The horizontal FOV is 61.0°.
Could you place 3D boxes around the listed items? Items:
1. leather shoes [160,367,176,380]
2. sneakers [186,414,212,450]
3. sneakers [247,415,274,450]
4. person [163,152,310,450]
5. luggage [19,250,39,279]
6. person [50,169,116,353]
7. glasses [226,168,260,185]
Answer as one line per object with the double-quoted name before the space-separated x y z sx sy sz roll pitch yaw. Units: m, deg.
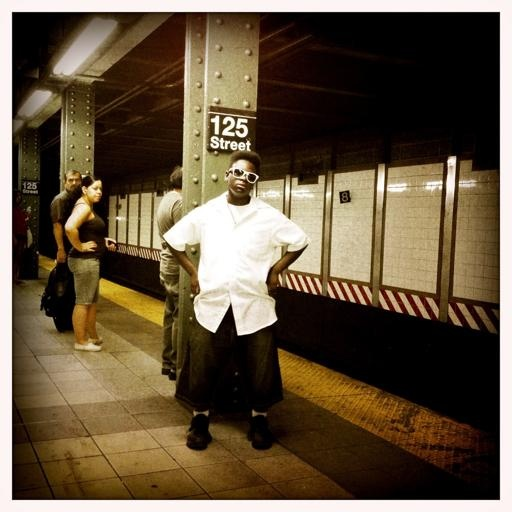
"leather shoes" -0.852 1.141 4.212 0.068 0.155 0.202 4 -4 -28
"sneakers" -0.369 1.154 2.821 0.101 0.165 0.231 10 -22 -1
"sneakers" 0.012 1.174 2.920 0.103 0.217 0.295 9 -1 -15
"person" -0.124 0.305 2.927 0.926 2.001 0.504 1 6 -8
"luggage" -5.943 0.198 11.301 0.424 0.854 0.256 5 0 -34
"person" -1.957 0.089 5.055 0.439 2.070 0.675 4 0 10
"glasses" -0.102 -0.511 2.805 0.229 0.100 0.161 6 0 6
